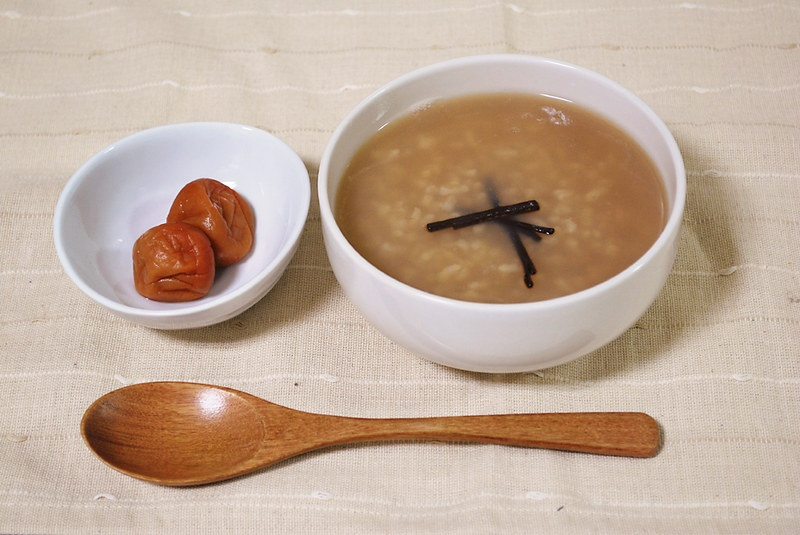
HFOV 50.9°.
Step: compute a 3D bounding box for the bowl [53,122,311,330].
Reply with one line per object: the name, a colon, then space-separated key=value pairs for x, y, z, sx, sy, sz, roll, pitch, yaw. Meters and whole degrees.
bowl: x=-0.538 y=-0.170 z=2.167 sx=0.658 sy=0.251 sz=0.624 roll=-41 pitch=-14 yaw=-13
